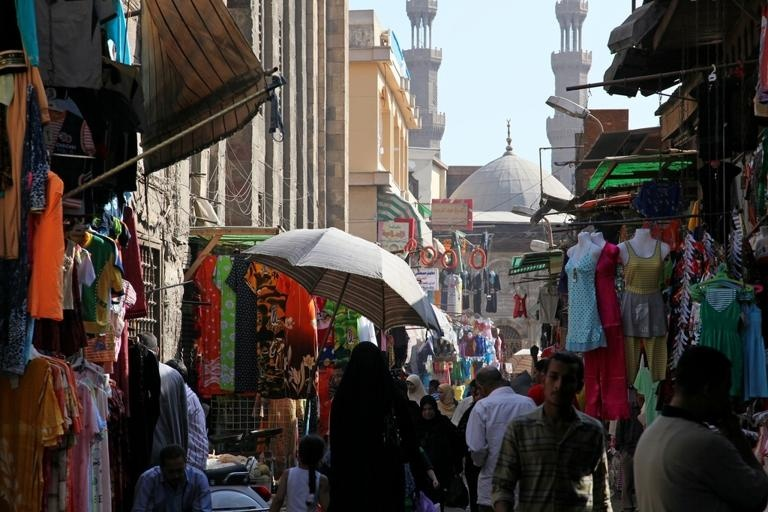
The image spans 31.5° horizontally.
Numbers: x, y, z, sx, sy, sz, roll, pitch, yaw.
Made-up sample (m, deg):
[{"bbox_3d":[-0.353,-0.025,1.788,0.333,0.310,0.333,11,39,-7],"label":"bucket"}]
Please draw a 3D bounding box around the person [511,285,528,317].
[{"bbox_3d":[4.302,1.388,42.980,0.419,0.287,1.097,-2,-62,-1],"label":"person"}]

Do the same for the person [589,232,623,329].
[{"bbox_3d":[2.354,0.285,14.075,0.314,0.902,0.239,8,-18,-35],"label":"person"}]

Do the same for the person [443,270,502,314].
[{"bbox_3d":[3.735,1.482,59.412,1.702,1.665,0.383,0,6,-6],"label":"person"}]
